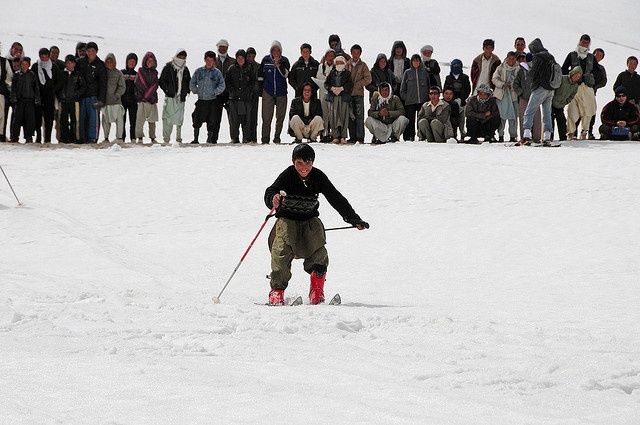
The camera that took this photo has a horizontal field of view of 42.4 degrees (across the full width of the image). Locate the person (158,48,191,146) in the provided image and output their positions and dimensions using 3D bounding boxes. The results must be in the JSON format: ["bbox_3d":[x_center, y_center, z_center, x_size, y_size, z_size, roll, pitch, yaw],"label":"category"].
[{"bbox_3d":[-2.993,-2.366,17.074,0.634,1.991,0.677,1,15,-5],"label":"person"}]

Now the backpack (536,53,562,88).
[{"bbox_3d":[4.241,-2.623,15.261,0.432,0.699,0.360,6,15,14],"label":"backpack"}]

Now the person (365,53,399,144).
[{"bbox_3d":[1.324,-2.336,16.792,0.789,1.754,0.558,-11,7,-20],"label":"person"}]

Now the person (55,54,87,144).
[{"bbox_3d":[-5.068,-2.286,16.763,0.475,1.817,0.747,-2,15,-15],"label":"person"}]

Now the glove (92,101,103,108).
[{"bbox_3d":[-4.461,-2.164,16.570,0.160,0.137,0.137,23,34,7],"label":"glove"}]

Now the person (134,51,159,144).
[{"bbox_3d":[-3.654,-2.373,17.379,0.506,1.972,1.356,-1,15,-13],"label":"person"}]

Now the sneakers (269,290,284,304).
[{"bbox_3d":[-0.504,0.972,9.466,0.178,0.152,0.162,2,-13,-9],"label":"sneakers"}]

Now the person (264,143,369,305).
[{"bbox_3d":[-0.123,0.165,9.635,1.053,1.907,0.769,-1,15,-12],"label":"person"}]

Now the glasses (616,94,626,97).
[{"bbox_3d":[6.155,-2.399,16.855,0.145,0.079,0.061,4,14,10],"label":"glasses"}]

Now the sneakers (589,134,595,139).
[{"bbox_3d":[5.790,-1.627,17.598,0.135,0.108,0.126,-1,7,11],"label":"sneakers"}]

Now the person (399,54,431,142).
[{"bbox_3d":[1.919,-2.288,16.583,0.547,1.743,0.667,-8,18,-34],"label":"person"}]

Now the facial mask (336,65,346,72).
[{"bbox_3d":[0.423,-2.847,16.225,0.202,0.112,0.141,-5,15,-26],"label":"facial mask"}]

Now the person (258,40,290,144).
[{"bbox_3d":[-0.943,-2.411,16.867,0.611,2.147,0.972,1,14,-3],"label":"person"}]

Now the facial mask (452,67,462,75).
[{"bbox_3d":[2.763,-2.865,16.711,0.141,0.110,0.161,-1,-2,1],"label":"facial mask"}]

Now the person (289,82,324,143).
[{"bbox_3d":[-0.263,-2.008,16.651,0.882,1.129,0.830,4,19,10],"label":"person"}]

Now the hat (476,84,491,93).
[{"bbox_3d":[3.239,-2.442,16.324,0.176,0.159,0.208,6,-19,0],"label":"hat"}]

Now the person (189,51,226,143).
[{"bbox_3d":[-2.310,-2.318,16.928,0.699,1.943,0.716,-1,15,-12],"label":"person"}]

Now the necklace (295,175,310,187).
[{"bbox_3d":[-0.214,-0.370,9.579,0.113,0.136,0.040,-6,3,-1],"label":"necklace"}]

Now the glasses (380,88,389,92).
[{"bbox_3d":[1.288,-2.427,16.341,0.174,0.102,0.072,1,14,-4],"label":"glasses"}]

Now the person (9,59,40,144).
[{"bbox_3d":[-5.980,-2.245,16.642,0.516,1.732,0.650,-6,17,-29],"label":"person"}]

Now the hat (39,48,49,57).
[{"bbox_3d":[-5.455,-3.166,16.261,0.157,0.165,0.186,3,11,16],"label":"hat"}]

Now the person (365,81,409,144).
[{"bbox_3d":[1.346,-2.032,16.635,0.945,1.130,0.818,0,13,14],"label":"person"}]

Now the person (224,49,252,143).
[{"bbox_3d":[-1.643,-2.330,16.813,0.587,1.943,0.646,0,15,-7],"label":"person"}]

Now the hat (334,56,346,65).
[{"bbox_3d":[0.385,-2.971,16.113,0.155,0.153,0.155,-3,-4,7],"label":"hat"}]

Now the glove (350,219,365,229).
[{"bbox_3d":[0.443,0.136,9.565,0.055,0.118,0.120,-36,11,43],"label":"glove"}]

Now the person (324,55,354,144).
[{"bbox_3d":[0.371,-2.220,16.405,0.591,1.732,0.502,-1,15,-10],"label":"person"}]
